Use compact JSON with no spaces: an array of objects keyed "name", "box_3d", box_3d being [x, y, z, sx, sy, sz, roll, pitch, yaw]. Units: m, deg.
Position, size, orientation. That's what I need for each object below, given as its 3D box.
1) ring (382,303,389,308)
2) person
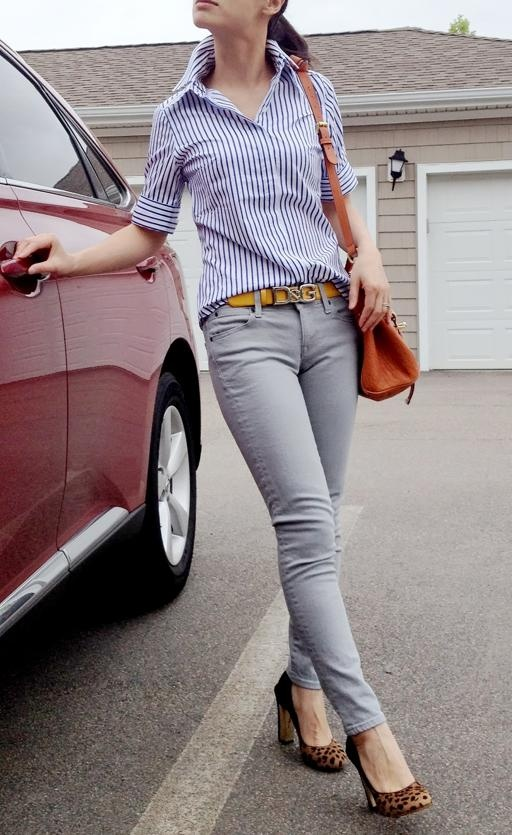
[{"name":"ring","box_3d":[0.263,-0.223,1.250,0.010,0.011,0.004,0,-9,-34]},{"name":"person","box_3d":[-0.003,-0.074,1.278,0.676,1.657,0.433,-1,0,15]}]
